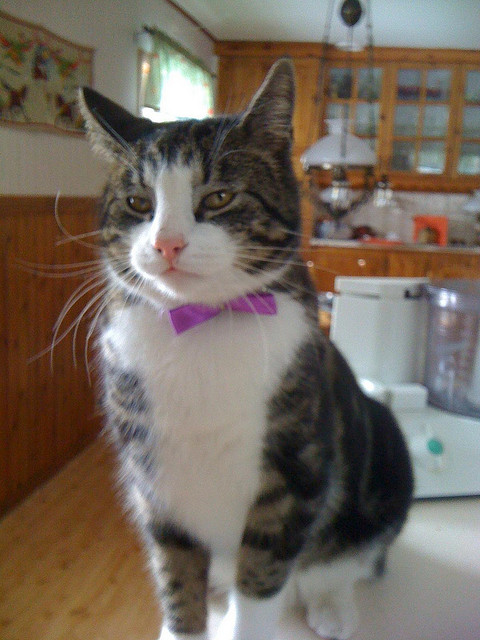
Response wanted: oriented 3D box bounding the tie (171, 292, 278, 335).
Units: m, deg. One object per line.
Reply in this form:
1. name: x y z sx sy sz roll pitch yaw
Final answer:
1. tie: -0.016 -0.010 0.614 0.115 0.045 0.022 -2 49 7
